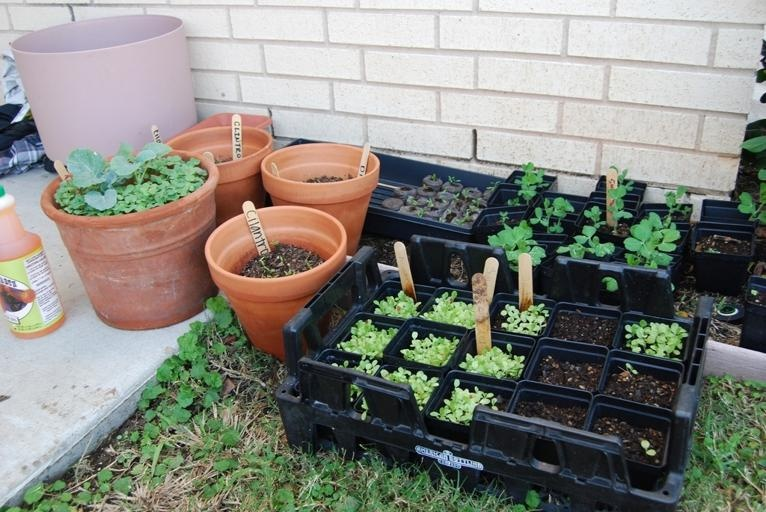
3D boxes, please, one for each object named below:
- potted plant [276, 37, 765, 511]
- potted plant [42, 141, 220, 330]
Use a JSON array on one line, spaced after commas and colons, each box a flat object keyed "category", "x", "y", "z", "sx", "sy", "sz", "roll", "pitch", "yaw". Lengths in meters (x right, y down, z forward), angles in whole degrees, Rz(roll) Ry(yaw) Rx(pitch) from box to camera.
[{"category": "potted plant", "x": 0.352, "y": 0.362, "z": 1.779, "sx": 1.368, "sy": 0.527, "sz": 0.720, "roll": 10, "pitch": 35, "yaw": 14}, {"category": "potted plant", "x": -1.050, "y": -0.034, "z": 2.285, "sx": 0.692, "sy": 0.510, "sz": 0.703, "roll": 12, "pitch": 27, "yaw": 22}]
